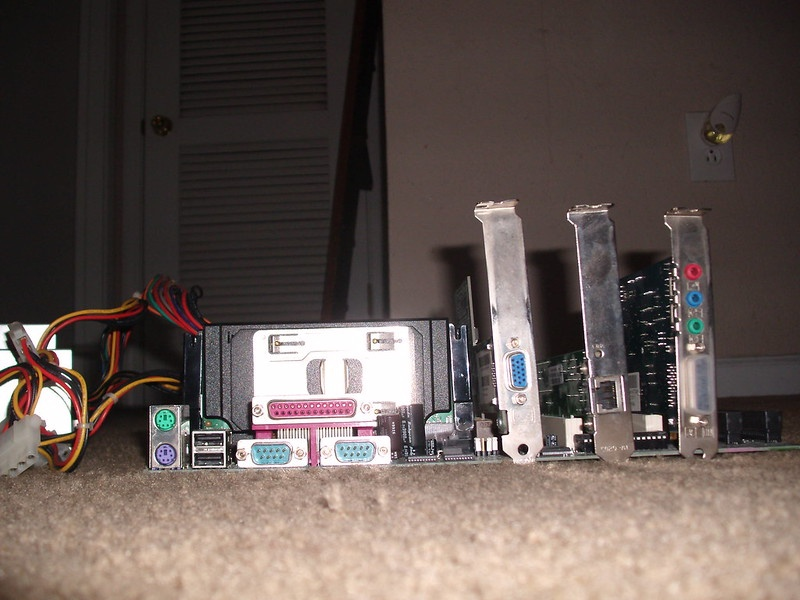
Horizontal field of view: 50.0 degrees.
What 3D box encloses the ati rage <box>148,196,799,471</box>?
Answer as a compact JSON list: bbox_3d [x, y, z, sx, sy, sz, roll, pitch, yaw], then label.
[{"bbox_3d":[0.140,0.208,2.953,1.558,0.698,0.974,0,-3,-2],"label":"ati rage"}]
